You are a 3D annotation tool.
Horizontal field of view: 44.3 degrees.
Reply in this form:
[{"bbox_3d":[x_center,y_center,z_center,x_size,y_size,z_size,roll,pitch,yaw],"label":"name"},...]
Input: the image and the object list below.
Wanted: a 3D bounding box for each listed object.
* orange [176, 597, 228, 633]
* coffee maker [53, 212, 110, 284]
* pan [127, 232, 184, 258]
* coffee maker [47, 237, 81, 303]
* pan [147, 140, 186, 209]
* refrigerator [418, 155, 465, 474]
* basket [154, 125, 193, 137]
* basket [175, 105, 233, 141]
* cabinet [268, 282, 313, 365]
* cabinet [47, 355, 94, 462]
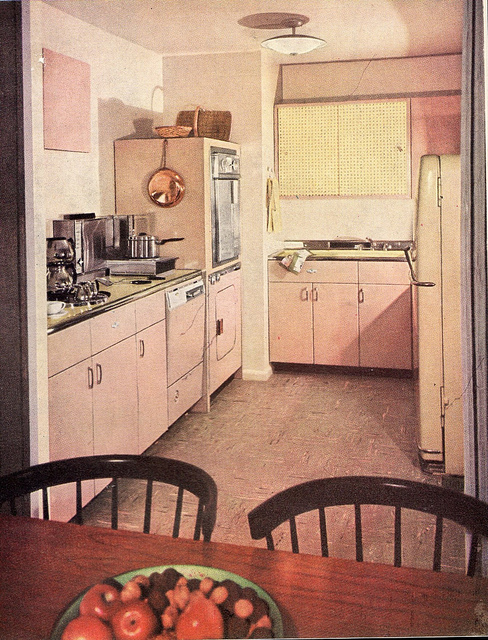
[{"bbox_3d":[-0.063,0.431,0.879,0.050,0.046,0.048,14,-31,-25],"label":"orange"},{"bbox_3d":[-0.530,-0.255,2.008,0.139,0.243,0.174,4,13,8],"label":"coffee maker"},{"bbox_3d":[-0.356,-0.303,2.416,0.209,0.074,0.101,1,7,7],"label":"pan"},{"bbox_3d":[-0.519,-0.153,1.816,0.105,0.182,0.134,-2,3,-38],"label":"coffee maker"},{"bbox_3d":[-0.343,-0.604,2.484,0.176,0.258,0.032,0,10,12],"label":"pan"},{"bbox_3d":[0.610,0.018,1.838,0.167,1.020,0.104,10,17,42],"label":"refrigerator"},{"bbox_3d":[-0.298,-0.792,2.515,0.136,0.042,0.071,-1,12,-4],"label":"basket"},{"bbox_3d":[-0.178,-0.843,2.658,0.228,0.171,0.211,1,9,11],"label":"basket"},{"bbox_3d":[0.251,0.006,3.119,0.265,0.396,0.197,0,11,7],"label":"cabinet"},{"bbox_3d":[-0.443,0.236,1.537,0.128,0.303,0.142,0,9,-3],"label":"cabinet"}]
